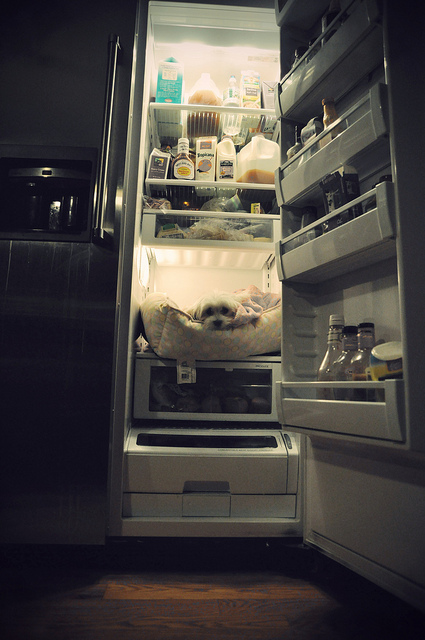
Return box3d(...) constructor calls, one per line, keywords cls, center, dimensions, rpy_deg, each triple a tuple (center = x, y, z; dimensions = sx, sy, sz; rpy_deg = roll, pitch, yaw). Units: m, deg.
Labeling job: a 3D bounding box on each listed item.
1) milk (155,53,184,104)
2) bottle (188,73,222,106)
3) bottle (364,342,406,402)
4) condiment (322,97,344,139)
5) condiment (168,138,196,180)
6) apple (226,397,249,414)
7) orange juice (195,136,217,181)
box3d(cls="milk", center=(-0.162, -0.897, 1.866), dimensions=(0.101, 0.225, 0.113), rpy_deg=(3, -14, -5))
box3d(cls="bottle", center=(-0.031, -0.885, 1.943), dimensions=(0.115, 0.148, 0.128), rpy_deg=(1, -7, -15))
box3d(cls="bottle", center=(0.313, 0.075, 0.875), dimensions=(0.068, 0.069, 0.043), rpy_deg=(1, -1, 41))
box3d(cls="condiment", center=(0.289, -0.495, 1.186), dimensions=(0.042, 0.047, 0.111), rpy_deg=(-24, -47, 0))
box3d(cls="condiment", center=(-0.111, -0.590, 1.852), dimensions=(0.091, 0.246, 0.068), rpy_deg=(1, -24, -4))
box3d(cls="apple", center=(0.076, 0.265, 1.491), dimensions=(0.054, 0.064, 0.043), rpy_deg=(4, -10, -18))
box3d(cls="orange juice", center=(-0.024, -0.609, 1.864), dimensions=(0.082, 0.213, 0.050), rpy_deg=(0, -11, 8))
